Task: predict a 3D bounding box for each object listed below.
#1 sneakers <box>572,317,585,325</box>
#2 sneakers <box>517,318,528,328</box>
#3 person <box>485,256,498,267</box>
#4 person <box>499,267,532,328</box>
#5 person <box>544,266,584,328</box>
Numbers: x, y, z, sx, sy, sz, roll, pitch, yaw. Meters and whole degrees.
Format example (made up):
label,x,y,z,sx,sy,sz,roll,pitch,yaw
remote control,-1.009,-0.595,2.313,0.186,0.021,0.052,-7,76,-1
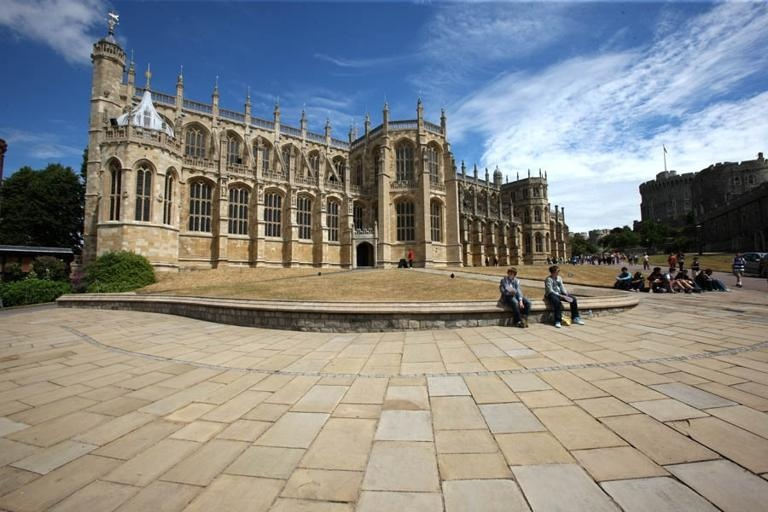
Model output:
label,x,y,z,sx,sy,sz,roll,pitch,yaw
sneakers,5.628,1.868,12.775,0.391,0.175,0.301,1,-4,-36
sneakers,3.910,1.899,12.542,0.353,0.247,0.320,-2,-3,10
person,11.572,0.737,47.960,1.225,0.862,0.578,-4,-13,25
person,3.777,1.202,12.745,0.836,1.640,0.675,-2,-3,7
person,5.259,1.145,13.090,1.010,1.744,1.588,-3,-3,20
